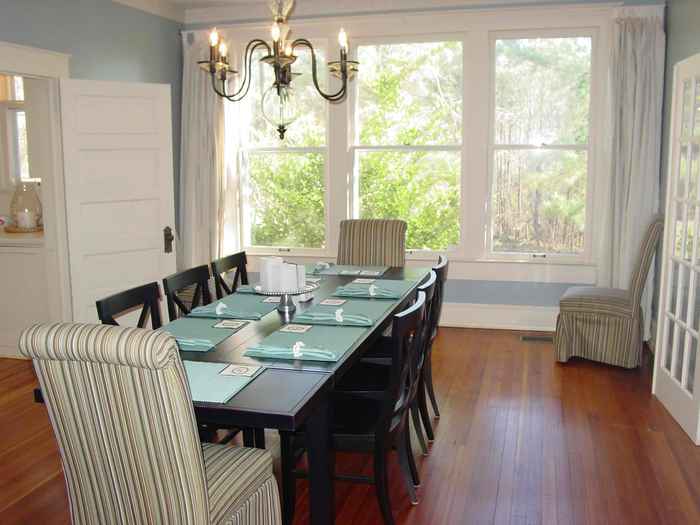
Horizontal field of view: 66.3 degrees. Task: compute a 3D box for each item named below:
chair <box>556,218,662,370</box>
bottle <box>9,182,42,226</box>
[{"bbox_3d":[2.159,0.183,5.012,1.075,1.703,1.036,4,9,24],"label":"chair"},{"bbox_3d":[-2.958,-0.526,4.879,0.257,0.394,0.407,-9,16,-32],"label":"bottle"}]
